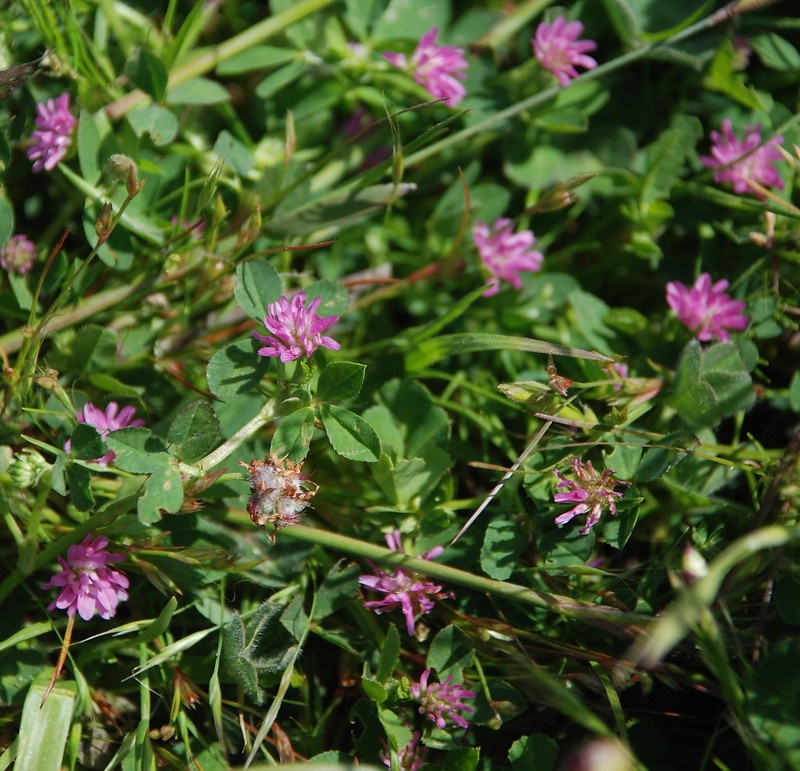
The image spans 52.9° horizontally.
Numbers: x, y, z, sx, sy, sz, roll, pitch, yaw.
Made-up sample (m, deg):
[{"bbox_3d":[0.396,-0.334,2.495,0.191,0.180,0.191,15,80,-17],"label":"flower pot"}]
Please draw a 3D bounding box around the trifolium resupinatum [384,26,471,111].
[{"bbox_3d":[0.037,-0.469,1.209,0.121,0.098,0.091,-2,68,-2],"label":"trifolium resupinatum"}]

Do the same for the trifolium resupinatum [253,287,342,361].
[{"bbox_3d":[-0.120,-0.078,0.955,0.085,0.094,0.036,9,83,-24],"label":"trifolium resupinatum"}]

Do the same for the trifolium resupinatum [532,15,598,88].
[{"bbox_3d":[0.232,-0.499,1.199,0.043,0.101,0.098,-42,38,-11],"label":"trifolium resupinatum"}]

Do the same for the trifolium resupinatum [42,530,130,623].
[{"bbox_3d":[-0.403,0.220,0.995,0.105,0.097,0.037,17,41,-38],"label":"trifolium resupinatum"}]

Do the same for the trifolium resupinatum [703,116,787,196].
[{"bbox_3d":[0.487,-0.319,1.149,0.129,0.043,0.114,17,80,9],"label":"trifolium resupinatum"}]

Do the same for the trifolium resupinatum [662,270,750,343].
[{"bbox_3d":[0.410,-0.106,1.109,0.108,0.105,0.051,-12,59,38],"label":"trifolium resupinatum"}]

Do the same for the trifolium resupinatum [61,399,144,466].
[{"bbox_3d":[-0.376,0.055,1.036,0.100,0.090,0.039,3,61,21],"label":"trifolium resupinatum"}]

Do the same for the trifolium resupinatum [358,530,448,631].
[{"bbox_3d":[0.001,0.253,1.054,0.143,0.049,0.118,7,77,3],"label":"trifolium resupinatum"}]
